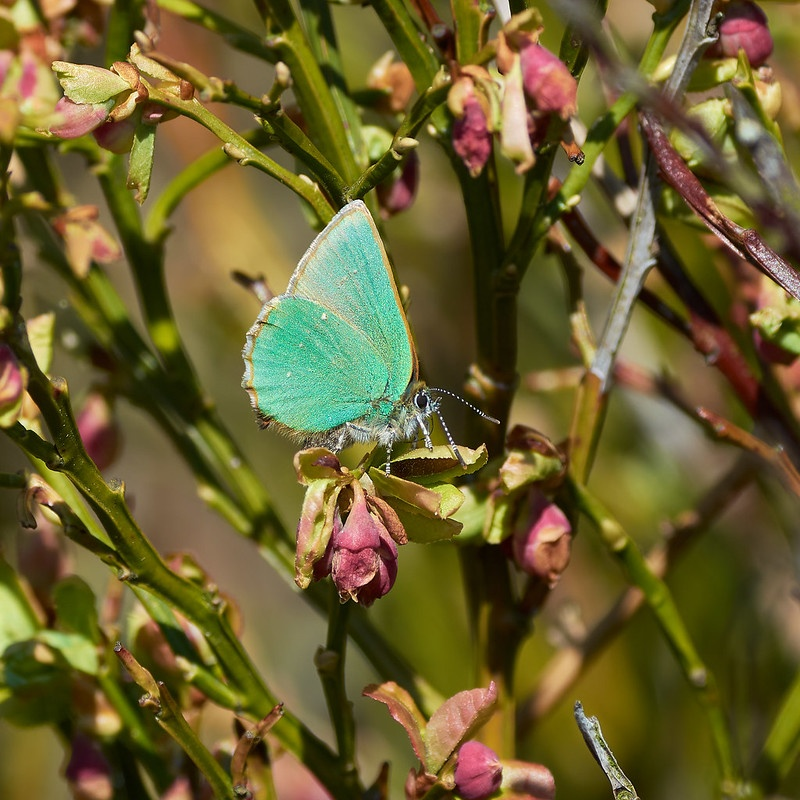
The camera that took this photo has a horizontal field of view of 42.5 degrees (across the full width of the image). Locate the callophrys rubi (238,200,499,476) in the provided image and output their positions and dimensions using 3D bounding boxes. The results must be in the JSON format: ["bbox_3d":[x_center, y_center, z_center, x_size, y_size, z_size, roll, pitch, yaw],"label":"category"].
[{"bbox_3d":[-0.054,-0.082,1.164,0.221,0.307,0.211,-1,4,-18],"label":"callophrys rubi"}]

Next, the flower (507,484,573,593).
[{"bbox_3d":[0.132,0.126,0.964,0.046,0.057,0.114,-1,49,-8],"label":"flower"}]

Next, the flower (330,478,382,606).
[{"bbox_3d":[-0.036,0.105,0.813,0.031,0.109,0.032,-17,37,-35],"label":"flower"}]
